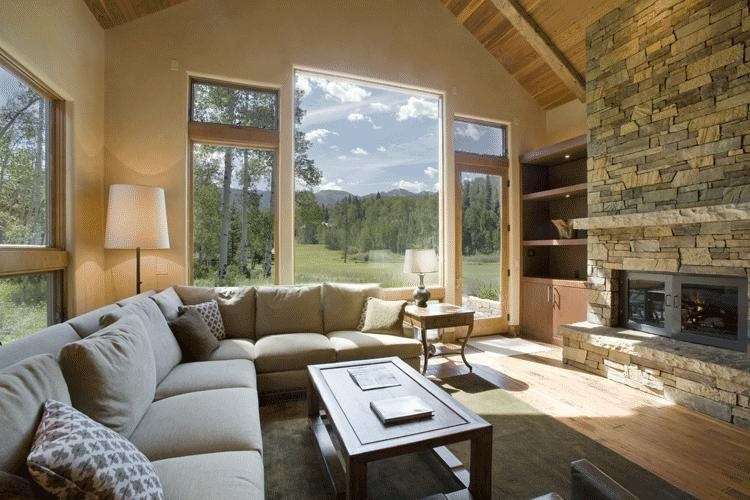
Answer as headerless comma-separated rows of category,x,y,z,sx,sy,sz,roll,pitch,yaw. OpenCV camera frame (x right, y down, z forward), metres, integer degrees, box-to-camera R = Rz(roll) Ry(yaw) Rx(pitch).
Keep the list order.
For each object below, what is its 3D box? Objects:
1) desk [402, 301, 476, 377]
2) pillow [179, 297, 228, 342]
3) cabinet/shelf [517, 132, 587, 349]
desk,0.813,1.122,6.280,0.718,0.592,0.626,0,-8,-18
pillow,-1.921,0.814,5.578,0.156,0.425,0.424,-29,-10,28
cabinet/shelf,2.672,-0.072,7.347,0.654,2.832,1.047,0,0,-21
